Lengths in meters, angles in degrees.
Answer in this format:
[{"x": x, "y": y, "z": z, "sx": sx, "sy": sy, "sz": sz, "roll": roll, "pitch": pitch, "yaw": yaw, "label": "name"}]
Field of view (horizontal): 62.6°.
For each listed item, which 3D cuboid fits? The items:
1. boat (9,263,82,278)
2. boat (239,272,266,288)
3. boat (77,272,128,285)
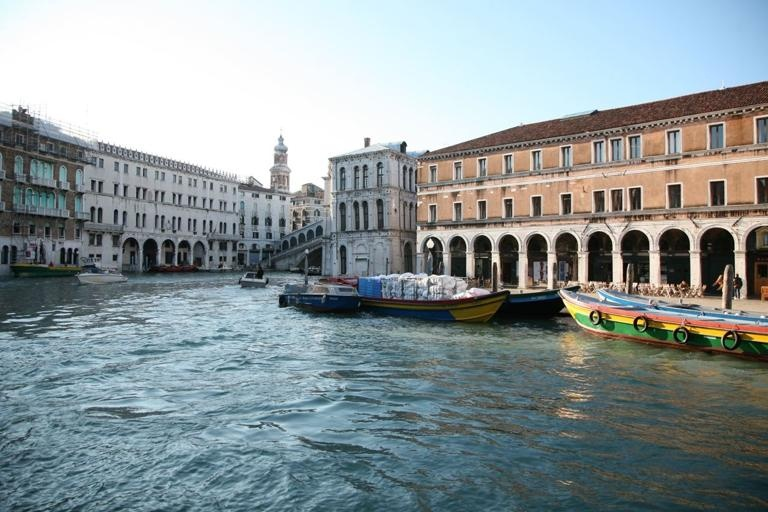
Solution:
[{"x": -33.321, "y": 1.448, "z": 62.037, "sx": 2.528, "sy": 1.266, "sz": 6.679, "roll": 0, "pitch": -2, "yaw": 10, "label": "boat"}, {"x": -11.354, "y": 2.115, "z": 54.662, "sx": 1.440, "sy": 0.675, "sz": 2.242, "roll": 1, "pitch": -5, "yaw": -30, "label": "boat"}, {"x": -25.180, "y": 1.927, "z": 56.825, "sx": 3.771, "sy": 1.001, "sz": 3.411, "roll": 1, "pitch": -2, "yaw": -27, "label": "boat"}]
